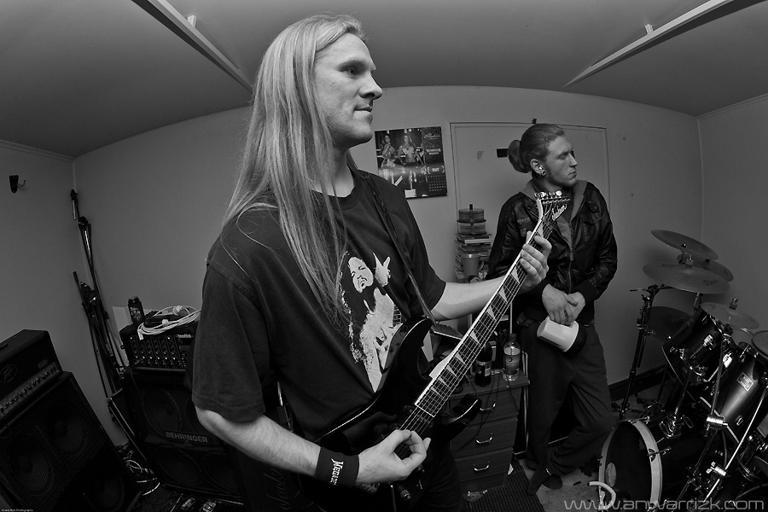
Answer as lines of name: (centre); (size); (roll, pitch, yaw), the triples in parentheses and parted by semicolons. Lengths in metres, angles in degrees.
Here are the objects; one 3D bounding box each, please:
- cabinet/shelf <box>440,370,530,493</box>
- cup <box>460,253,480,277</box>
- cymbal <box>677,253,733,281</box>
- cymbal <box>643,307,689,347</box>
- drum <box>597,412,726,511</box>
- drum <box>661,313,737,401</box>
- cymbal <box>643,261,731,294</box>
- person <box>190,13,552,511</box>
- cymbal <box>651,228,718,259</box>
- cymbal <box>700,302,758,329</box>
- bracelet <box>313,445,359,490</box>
cabinet/shelf: (0.629, 1.354, 4.026); (0.627, 1.065, 0.518); (-19, 40, -18)
cup: (0.659, 0.064, 3.962); (0.158, 0.146, 0.136); (8, -12, -34)
cymbal: (2.491, 0.122, 4.044); (0.274, 0.071, 0.281); (-7, 35, -23)
cymbal: (2.231, 0.558, 4.148); (0.295, 0.076, 0.309); (8, 49, 8)
drum: (1.814, 1.326, 3.595); (0.479, 0.642, 0.774); (7, 7, -28)
drum: (2.106, 0.655, 3.647); (0.439, 0.456, 0.442); (37, -12, 21)
cymbal: (2.230, 0.157, 3.863); (0.335, 0.082, 0.338); (26, 31, 32)
person: (-0.288, -0.021, 2.422); (1.205, 2.134, 0.473); (-4, 7, -10)
cymbal: (2.289, -0.094, 3.986); (0.333, 0.207, 0.299); (-5, 6, -13)
cymbal: (2.298, 0.399, 3.490); (0.208, 0.079, 0.209); (32, 34, 31)
bracelet: (-0.208, 0.955, 2.335); (0.199, 0.208, 0.052); (-4, 6, -4)
